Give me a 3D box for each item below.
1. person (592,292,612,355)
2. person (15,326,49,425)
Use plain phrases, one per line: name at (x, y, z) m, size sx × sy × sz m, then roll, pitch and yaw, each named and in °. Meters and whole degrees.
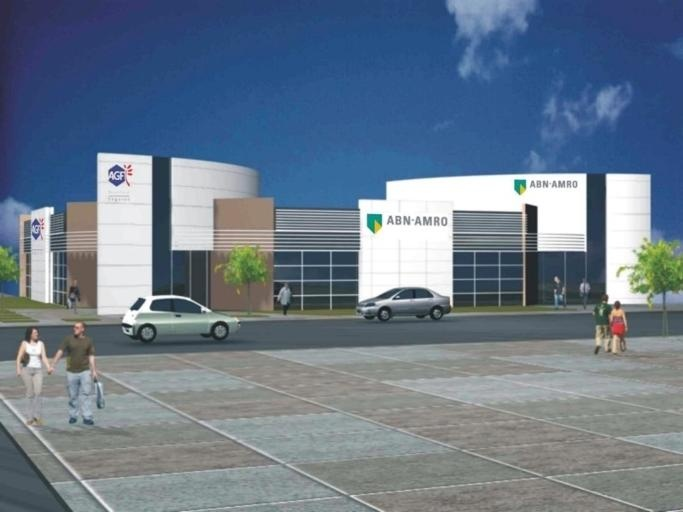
person at (8.673, 2.299, 28.384) m, size 0.511 × 1.856 × 1.167 m, roll -2°, pitch -4°, yaw 33°
person at (-6.345, 2.505, 17.653) m, size 0.613 × 1.980 × 0.801 m, roll 1°, pitch -4°, yaw -20°
